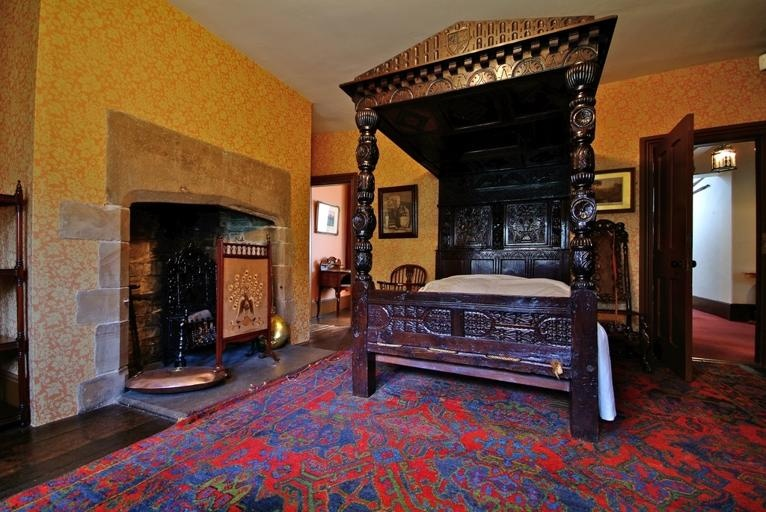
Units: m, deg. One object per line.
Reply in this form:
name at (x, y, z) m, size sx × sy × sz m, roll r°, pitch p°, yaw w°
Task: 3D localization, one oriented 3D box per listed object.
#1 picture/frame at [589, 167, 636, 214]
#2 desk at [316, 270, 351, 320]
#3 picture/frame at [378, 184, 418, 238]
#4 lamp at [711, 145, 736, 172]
picture/frame at (2.991, -0.876, 6.261) m, size 0.662 × 0.727 × 0.039 m, roll -1°, pitch -36°, yaw 31°
desk at (-0.978, 0.593, 8.478) m, size 0.559 × 0.667 × 0.538 m, roll 4°, pitch -2°, yaw 18°
picture/frame at (0.278, -0.730, 7.621) m, size 0.949 × 1.164 × 0.081 m, roll 0°, pitch -1°, yaw 29°
lamp at (5.277, -1.520, 7.222) m, size 0.290 × 0.395 × 0.430 m, roll 0°, pitch 3°, yaw 34°
